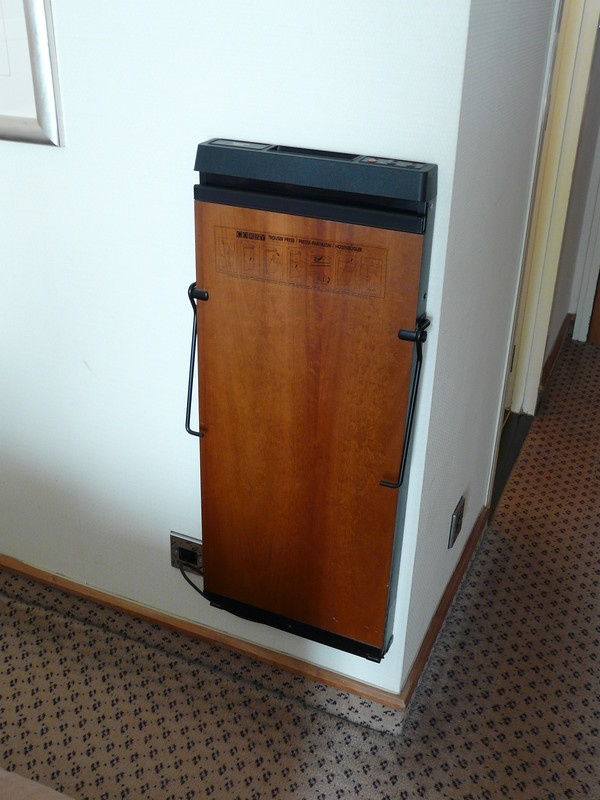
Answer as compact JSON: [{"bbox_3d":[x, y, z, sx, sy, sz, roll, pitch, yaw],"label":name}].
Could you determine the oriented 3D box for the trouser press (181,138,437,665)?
[{"bbox_3d":[0.004,0.037,1.257,0.415,1.053,0.148,10,30,13],"label":"trouser press"}]
